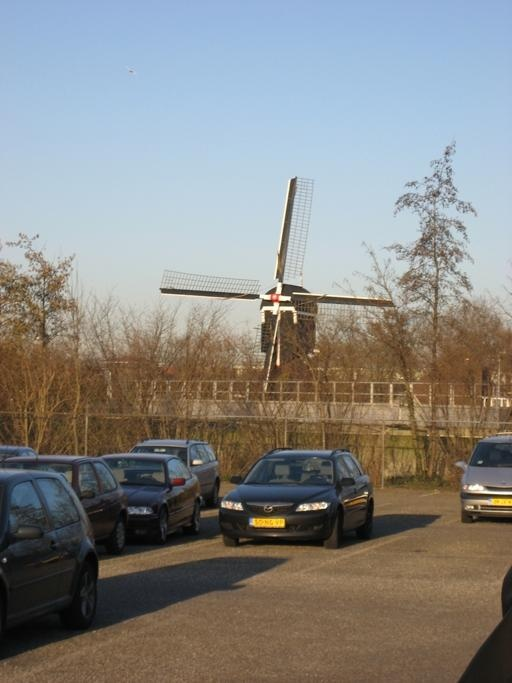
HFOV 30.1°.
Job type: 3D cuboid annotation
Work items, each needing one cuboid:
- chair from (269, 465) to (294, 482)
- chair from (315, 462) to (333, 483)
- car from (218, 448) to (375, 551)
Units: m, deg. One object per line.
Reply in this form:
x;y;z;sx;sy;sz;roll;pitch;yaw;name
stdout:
0.390;2.032;14.554;0.233;0.276;0.228;2;-21;8;chair
1.043;1.973;14.413;0.176;0.277;0.273;1;-6;3;chair
0.771;2.311;14.201;1.120;0.973;2.496;-4;-10;18;car
